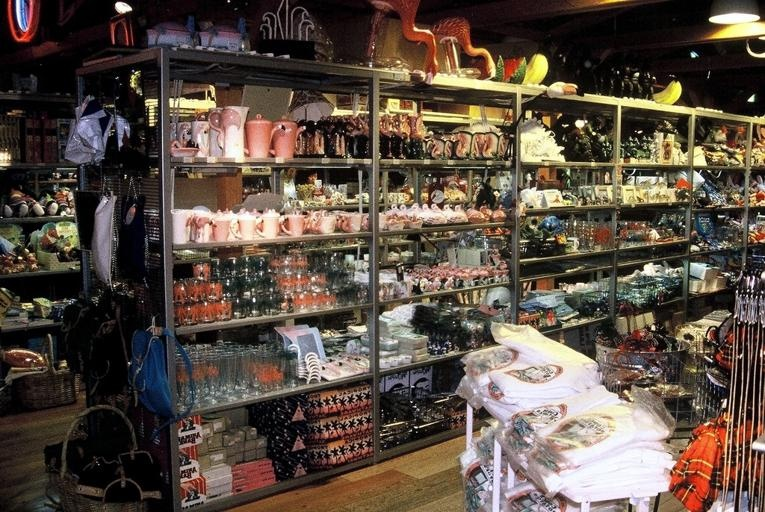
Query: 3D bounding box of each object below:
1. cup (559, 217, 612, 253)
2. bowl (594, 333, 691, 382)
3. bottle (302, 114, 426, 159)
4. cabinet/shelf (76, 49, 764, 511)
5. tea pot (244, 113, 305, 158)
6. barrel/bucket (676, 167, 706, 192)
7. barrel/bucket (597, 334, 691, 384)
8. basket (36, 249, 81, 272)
[{"bbox_3d":[2.283,-0.256,6.620,0.528,0.323,0.383,-4,8,-22],"label":"cup"},{"bbox_3d":[2.327,0.971,5.117,0.725,0.304,0.694,-1,-6,0],"label":"bowl"},{"bbox_3d":[-0.136,-1.020,4.878,1.252,0.339,0.247,-5,2,-29],"label":"bottle"},{"bbox_3d":[0.120,0.148,4.747,4.348,2.226,0.655,-5,8,-36],"label":"cabinet/shelf"},{"bbox_3d":[-0.833,-0.898,4.424,0.425,0.300,0.258,5,8,36],"label":"tea pot"},{"bbox_3d":[4.164,-1.040,7.836,0.432,0.321,0.457,-3,10,1],"label":"barrel/bucket"},{"bbox_3d":[2.282,0.956,5.168,0.763,0.305,0.827,3,-12,1],"label":"barrel/bucket"},{"bbox_3d":[-3.736,0.067,6.667,0.392,0.168,0.260,-3,4,-44],"label":"basket"}]
